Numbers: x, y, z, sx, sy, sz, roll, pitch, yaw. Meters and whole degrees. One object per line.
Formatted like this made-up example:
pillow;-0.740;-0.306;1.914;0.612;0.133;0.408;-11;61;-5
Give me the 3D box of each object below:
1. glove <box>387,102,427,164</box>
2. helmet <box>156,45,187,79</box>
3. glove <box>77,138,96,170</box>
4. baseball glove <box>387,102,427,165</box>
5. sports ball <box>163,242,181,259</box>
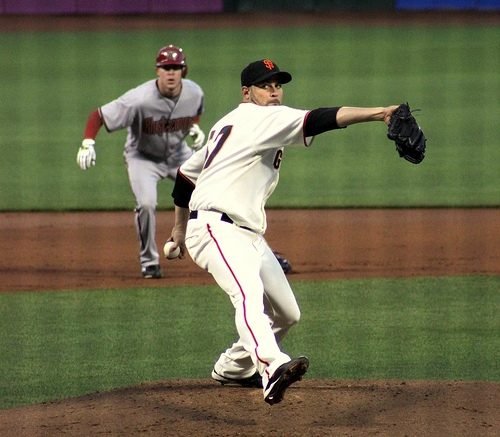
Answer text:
glove;1.195;-0.701;9.124;0.391;0.314;0.586;-7;6;-1
helmet;-0.886;-1.745;12.212;0.350;0.282;0.491;-2;5;-6
glove;-1.785;-0.653;12.007;0.202;0.343;0.131;-11;-17;18
baseball glove;1.294;-0.630;8.931;0.254;0.468;0.331;-16;-8;30
sports ball;-0.707;0.322;10.001;0.133;0.144;0.140;-7;19;2
